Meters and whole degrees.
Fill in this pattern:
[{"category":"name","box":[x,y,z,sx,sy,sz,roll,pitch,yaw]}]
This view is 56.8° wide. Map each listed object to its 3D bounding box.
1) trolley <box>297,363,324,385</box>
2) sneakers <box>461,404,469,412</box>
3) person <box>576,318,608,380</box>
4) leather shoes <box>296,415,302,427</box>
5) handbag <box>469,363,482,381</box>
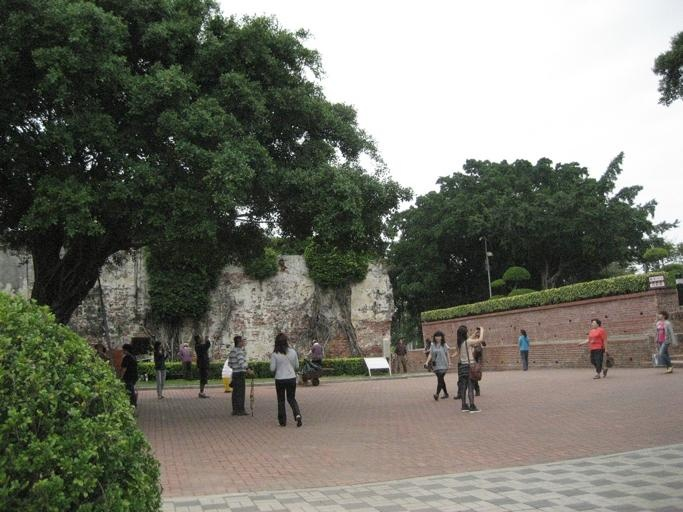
[{"category":"trolley","box":[-1.313,4.832,25.623,0.633,0.720,1.256,1,-17,-10]},{"category":"sneakers","box":[2.815,3.422,14.292,0.160,0.187,0.310,0,-3,8]},{"category":"person","box":[7.995,2.878,19.629,0.536,1.785,1.375,-1,-3,22]},{"category":"leather shoes","box":[-0.888,3.481,13.204,0.094,0.287,0.116,-1,12,-4]},{"category":"handbag","box":[3.074,2.635,14.384,0.167,0.405,0.398,-1,-3,29]}]
